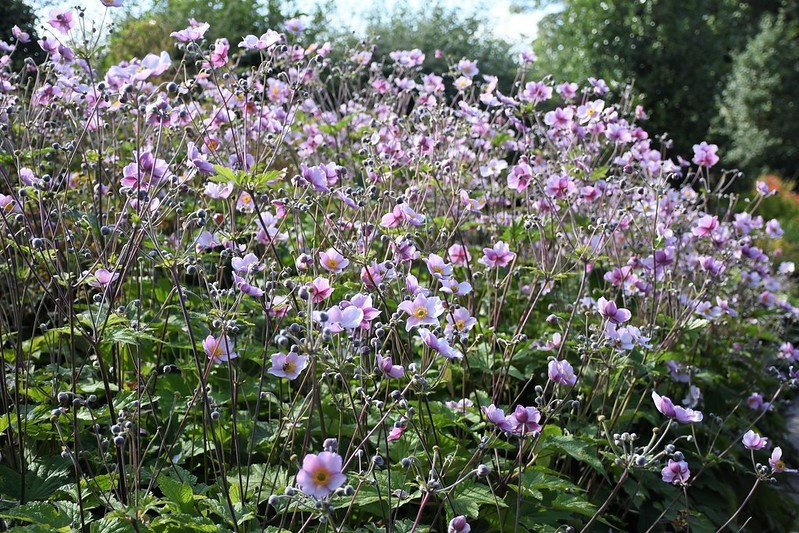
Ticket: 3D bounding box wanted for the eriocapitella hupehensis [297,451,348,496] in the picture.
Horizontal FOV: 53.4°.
[{"bbox_3d":[-0.424,1.169,4.396,0.265,0.110,0.323,11,29,6],"label":"eriocapitella hupehensis"}]
